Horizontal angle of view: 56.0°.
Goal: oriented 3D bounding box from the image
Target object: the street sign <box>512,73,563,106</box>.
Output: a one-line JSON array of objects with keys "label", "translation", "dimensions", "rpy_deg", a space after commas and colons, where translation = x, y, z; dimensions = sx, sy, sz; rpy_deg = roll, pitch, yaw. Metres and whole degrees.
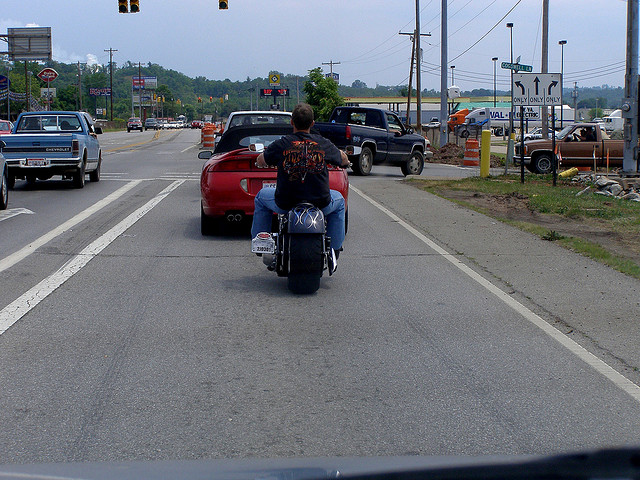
[{"label": "street sign", "translation": [7.244, -5.074, 20.160], "dimensions": [1.631, 1.174, 0.063], "rpy_deg": [9, 31, 33]}]

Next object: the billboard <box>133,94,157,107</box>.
[{"label": "billboard", "translation": [-64.642, -51.676, 221.941], "dimensions": [8.245, 5.479, 8.281], "rpy_deg": [12, 15, 42]}]

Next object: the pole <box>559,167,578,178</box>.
[{"label": "pole", "translation": [10.210, -2.753, 24.725], "dimensions": [0.674, 0.188, 0.153], "rpy_deg": [-18, 31, -32]}]

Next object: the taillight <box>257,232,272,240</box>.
[{"label": "taillight", "translation": [-0.657, -0.042, 7.135], "dimensions": [0.169, 0.068, 0.047], "rpy_deg": [3, 9, 11]}]

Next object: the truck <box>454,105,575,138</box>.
[{"label": "truck", "translation": [25.484, -15.947, 82.162], "dimensions": [17.712, 4.569, 4.051], "rpy_deg": [5, 7, 20]}]

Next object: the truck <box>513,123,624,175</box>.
[{"label": "truck", "translation": [12.197, -4.026, 27.312], "dimensions": [5.657, 2.405, 2.593], "rpy_deg": [5, 7, 25]}]

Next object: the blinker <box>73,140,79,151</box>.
[{"label": "blinker", "translation": [-7.080, -2.746, 17.466], "dimensions": [0.072, 0.306, 0.176], "rpy_deg": [8, 11, 41]}]

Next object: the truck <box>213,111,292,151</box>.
[{"label": "truck", "translation": [-0.728, -2.747, 13.585], "dimensions": [1.528, 1.571, 3.535], "rpy_deg": [0, 11, -5]}]

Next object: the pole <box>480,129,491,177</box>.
[{"label": "pole", "translation": [6.402, -3.350, 23.335], "dimensions": [0.319, 1.755, 0.768], "rpy_deg": [3, 8, 13]}]

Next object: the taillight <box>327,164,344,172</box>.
[{"label": "taillight", "translation": [0.234, -1.162, 9.851], "dimensions": [0.198, 0.094, 0.314], "rpy_deg": [3, 2, 34]}]

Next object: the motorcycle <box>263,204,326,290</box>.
[{"label": "motorcycle", "translation": [-0.266, 0.082, 6.997], "dimensions": [0.589, 0.992, 0.738], "rpy_deg": [-4, 10, -30]}]

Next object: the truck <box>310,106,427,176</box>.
[{"label": "truck", "translation": [1.986, -4.254, 26.181], "dimensions": [3.571, 2.788, 6.420], "rpy_deg": [7, 10, 34]}]

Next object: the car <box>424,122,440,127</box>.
[{"label": "car", "translation": [17.572, -17.790, 92.972], "dimensions": [1.762, 0.660, 2.193], "rpy_deg": [-2, 8, 7]}]

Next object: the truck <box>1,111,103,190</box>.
[{"label": "truck", "translation": [-8.132, -2.832, 18.332], "dimensions": [1.994, 2.208, 5.042], "rpy_deg": [-1, 3, -13]}]

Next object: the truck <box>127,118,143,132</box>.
[{"label": "truck", "translation": [-33.295, -20.964, 108.497], "dimensions": [2.158, 2.066, 4.408], "rpy_deg": [-2, 5, -12]}]
